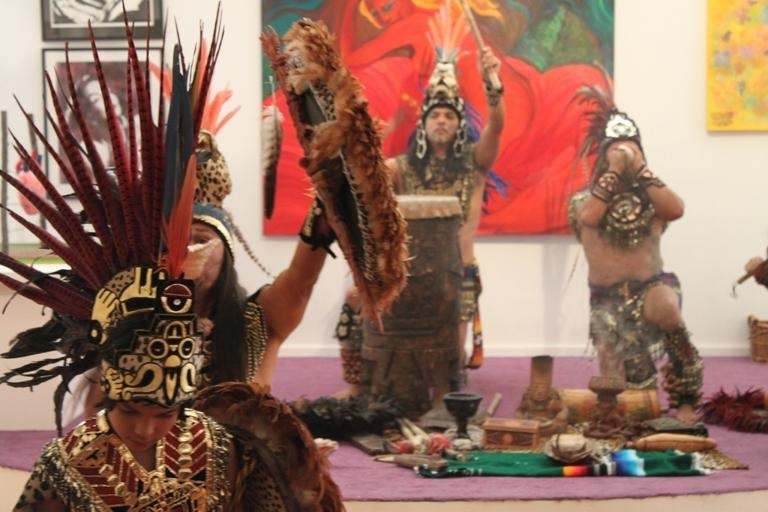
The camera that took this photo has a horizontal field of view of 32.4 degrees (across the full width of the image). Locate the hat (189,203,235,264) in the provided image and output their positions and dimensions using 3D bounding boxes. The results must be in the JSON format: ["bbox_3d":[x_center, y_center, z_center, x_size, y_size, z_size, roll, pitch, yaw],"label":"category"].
[{"bbox_3d":[-0.824,-0.123,6.466,0.192,0.286,0.120,-9,14,-37],"label":"hat"}]

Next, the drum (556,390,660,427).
[{"bbox_3d":[1.382,0.928,8.138,0.618,0.188,0.338,1,10,7],"label":"drum"}]

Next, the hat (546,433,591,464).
[{"bbox_3d":[1.061,1.106,7.602,0.200,0.060,0.185,-3,7,12],"label":"hat"}]

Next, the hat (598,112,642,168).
[{"bbox_3d":[1.585,-0.799,8.935,0.265,0.321,0.122,4,-13,4],"label":"hat"}]

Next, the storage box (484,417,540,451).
[{"bbox_3d":[0.762,1.057,7.887,0.333,0.144,0.238,1,10,5],"label":"storage box"}]

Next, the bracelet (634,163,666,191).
[{"bbox_3d":[1.714,-0.513,8.563,0.180,0.127,0.073,29,-7,5],"label":"bracelet"}]

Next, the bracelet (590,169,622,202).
[{"bbox_3d":[1.440,-0.466,8.585,0.160,0.219,0.070,40,1,40],"label":"bracelet"}]

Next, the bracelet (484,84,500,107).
[{"bbox_3d":[0.690,-1.041,8.395,0.129,0.144,0.137,-6,17,-10],"label":"bracelet"}]

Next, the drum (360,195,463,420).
[{"bbox_3d":[0.166,0.325,8.133,0.617,1.352,0.384,-1,11,0],"label":"drum"}]

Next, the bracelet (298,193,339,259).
[{"bbox_3d":[-0.311,-0.150,6.223,0.170,0.290,0.213,-1,11,-3],"label":"bracelet"}]
